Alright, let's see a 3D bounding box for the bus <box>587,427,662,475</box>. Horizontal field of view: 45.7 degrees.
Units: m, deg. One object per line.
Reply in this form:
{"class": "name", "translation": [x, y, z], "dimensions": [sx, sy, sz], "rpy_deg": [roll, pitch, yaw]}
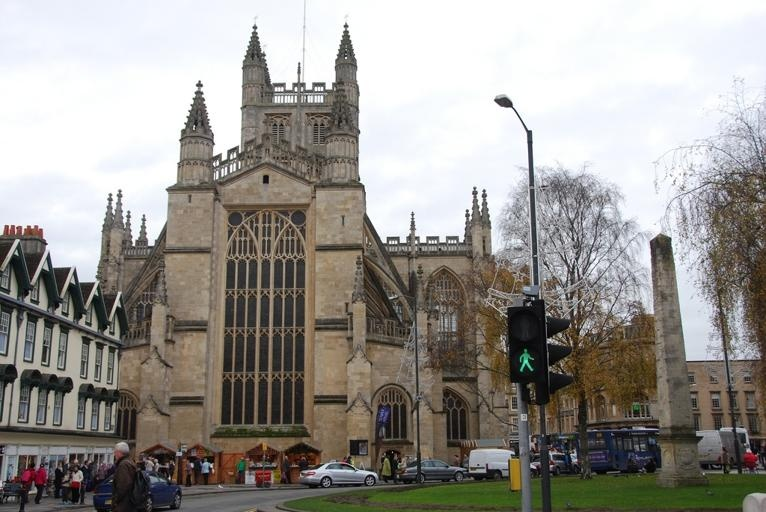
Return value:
{"class": "bus", "translation": [18.545, 14.695, 69.091], "dimensions": [6.217, 3.897, 3.548], "rpy_deg": [-3, -13, -4]}
